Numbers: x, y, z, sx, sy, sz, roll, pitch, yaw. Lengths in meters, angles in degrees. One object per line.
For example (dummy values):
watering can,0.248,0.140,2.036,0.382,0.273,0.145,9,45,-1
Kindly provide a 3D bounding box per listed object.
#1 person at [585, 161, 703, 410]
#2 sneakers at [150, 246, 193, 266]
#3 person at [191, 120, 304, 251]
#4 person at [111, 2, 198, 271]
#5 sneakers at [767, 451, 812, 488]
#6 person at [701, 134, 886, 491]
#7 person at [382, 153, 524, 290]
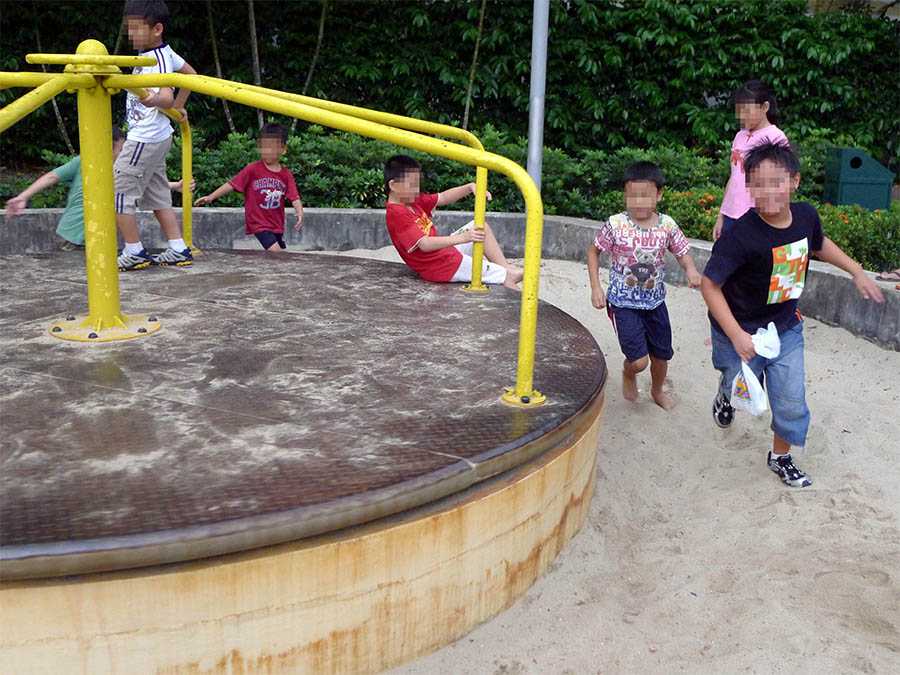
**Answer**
person,0.915,-0.242,3.957,0.490,1.186,0.517,3,13,9
sneakers,-1.576,-0.462,4.628,0.241,0.115,0.094,5,12,0
person,-1.251,-1.023,5.621,0.603,0.857,0.492,2,13,6
person,-1.579,-1.063,4.386,0.443,1.392,0.886,-4,13,-18
sneakers,1.427,0.544,3.467,0.079,0.074,0.186,-17,25,-20
person,1.368,-0.075,3.311,0.628,1.379,0.700,8,14,29
person,0.068,-0.636,4.463,0.767,0.661,0.734,10,16,37
